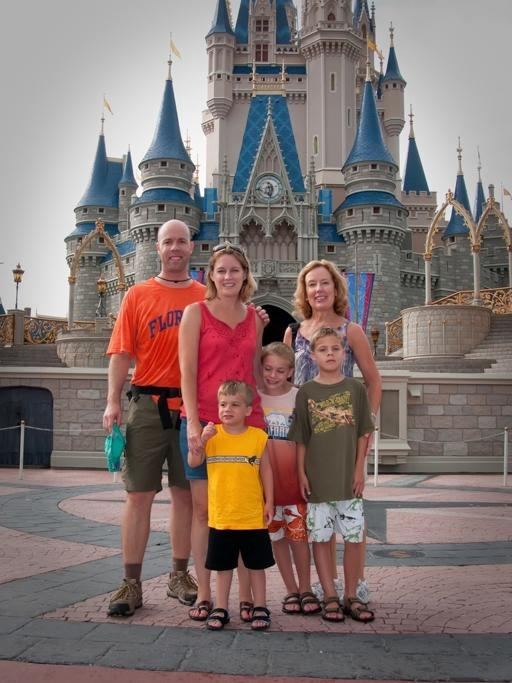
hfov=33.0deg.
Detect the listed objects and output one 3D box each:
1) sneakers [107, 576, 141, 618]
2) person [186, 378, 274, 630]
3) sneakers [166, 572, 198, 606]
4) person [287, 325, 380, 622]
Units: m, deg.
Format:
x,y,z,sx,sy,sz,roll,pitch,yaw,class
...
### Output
x,y,z,sx,sy,sz,roll,pitch,yaw,class
-0.608,1.202,4.025,0.126,0.136,0.256,-1,-1,2,sneakers
-0.110,0.722,3.907,0.376,1.079,0.354,-1,-2,0,person
-0.356,1.233,4.281,0.091,0.088,0.190,5,-9,-32,sneakers
0.356,0.608,4.101,0.398,1.350,0.365,-1,-2,7,person
